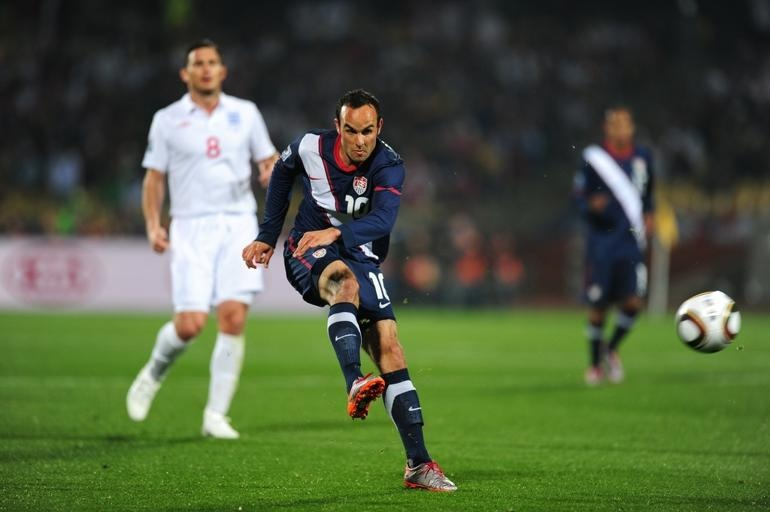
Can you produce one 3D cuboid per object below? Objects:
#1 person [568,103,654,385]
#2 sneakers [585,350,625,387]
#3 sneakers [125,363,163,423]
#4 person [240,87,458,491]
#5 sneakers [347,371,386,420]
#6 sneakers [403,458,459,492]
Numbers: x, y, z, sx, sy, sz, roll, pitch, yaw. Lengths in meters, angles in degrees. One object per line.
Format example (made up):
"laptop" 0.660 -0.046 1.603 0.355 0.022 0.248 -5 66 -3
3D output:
"person" 2.400 -0.150 9.540 0.704 2.944 1.444 1 -2 26
"sneakers" 2.159 1.098 8.935 0.219 0.308 0.682 -14 -16 34
"sneakers" -2.069 1.139 7.741 0.255 0.470 0.154 22 -9 -22
"person" -0.242 0.213 6.743 1.439 2.853 0.815 1 -2 33
"sneakers" -0.178 0.953 6.305 0.157 0.408 0.221 23 26 -23
"sneakers" 0.319 1.575 6.567 0.346 0.173 0.177 0 -2 19
